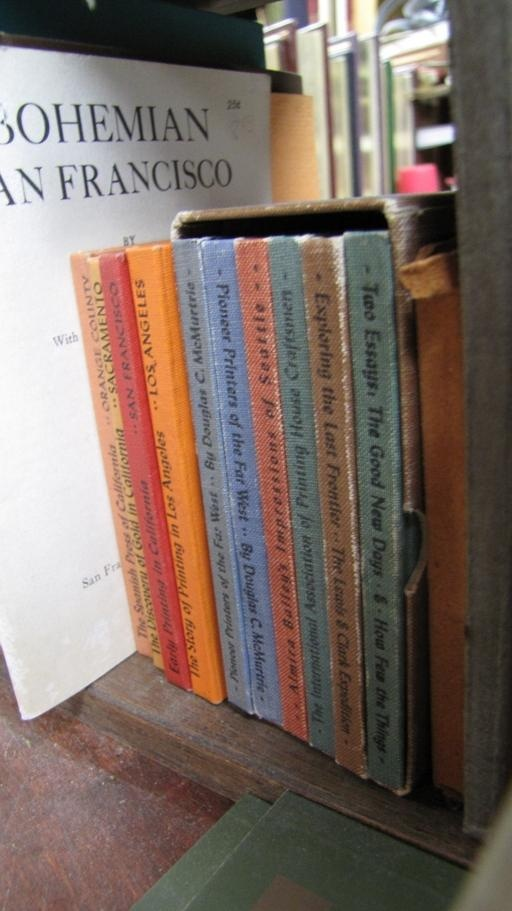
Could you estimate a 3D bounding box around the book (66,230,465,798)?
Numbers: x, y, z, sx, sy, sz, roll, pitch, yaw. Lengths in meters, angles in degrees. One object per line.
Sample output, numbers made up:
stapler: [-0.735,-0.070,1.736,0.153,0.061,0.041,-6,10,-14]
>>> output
book: [0.072,0.021,0.691,0.292,0.428,0.411,9,21,32]
